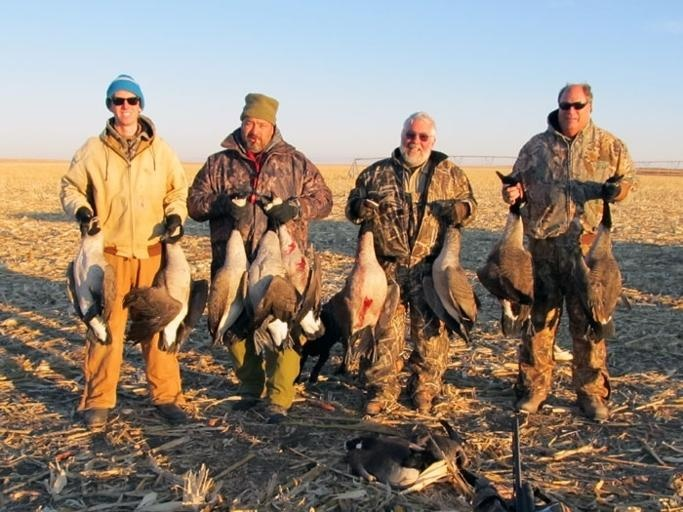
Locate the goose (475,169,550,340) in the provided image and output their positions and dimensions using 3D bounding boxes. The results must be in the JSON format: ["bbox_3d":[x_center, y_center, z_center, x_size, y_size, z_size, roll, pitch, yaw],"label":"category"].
[{"bbox_3d":[1.866,0.038,7.147,0.621,1.908,0.748,6,11,16],"label":"goose"}]

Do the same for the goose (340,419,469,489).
[{"bbox_3d":[0.561,1.924,6.124,0.884,0.342,0.754,5,4,42],"label":"goose"}]

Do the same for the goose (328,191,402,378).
[{"bbox_3d":[0.321,0.374,7.540,0.636,2.081,0.463,-5,13,-34],"label":"goose"}]

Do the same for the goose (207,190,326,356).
[{"bbox_3d":[-0.790,0.247,6.877,1.202,1.703,0.722,2,10,-3],"label":"goose"}]

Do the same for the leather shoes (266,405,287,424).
[{"bbox_3d":[-0.728,1.759,7.144,0.215,0.119,0.249,1,11,-9],"label":"leather shoes"}]

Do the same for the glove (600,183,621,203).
[{"bbox_3d":[2.949,-0.688,7.003,0.194,0.230,0.274,4,11,11],"label":"glove"}]

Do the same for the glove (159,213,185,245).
[{"bbox_3d":[-1.846,-0.286,6.917,0.119,0.320,0.246,1,-8,18],"label":"glove"}]

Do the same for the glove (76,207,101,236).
[{"bbox_3d":[-2.635,-0.340,6.663,0.212,0.313,0.124,-7,-17,-34],"label":"glove"}]

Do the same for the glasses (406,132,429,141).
[{"bbox_3d":[0.872,-1.352,7.312,0.252,0.099,0.047,4,10,6],"label":"glasses"}]

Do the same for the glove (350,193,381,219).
[{"bbox_3d":[0.261,-0.557,7.475,0.284,0.163,0.356,-29,16,-13],"label":"glove"}]

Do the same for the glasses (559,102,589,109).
[{"bbox_3d":[2.550,-1.647,7.058,0.273,0.084,0.109,6,11,16],"label":"glasses"}]

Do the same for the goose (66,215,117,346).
[{"bbox_3d":[-2.591,0.289,6.656,0.318,1.313,0.630,-7,14,-42],"label":"goose"}]

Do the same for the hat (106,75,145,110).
[{"bbox_3d":[-2.220,-1.672,6.573,0.335,0.340,0.485,-1,11,-19],"label":"hat"}]

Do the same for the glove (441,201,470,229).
[{"bbox_3d":[1.315,-0.449,7.296,0.239,0.317,0.329,2,0,18],"label":"glove"}]

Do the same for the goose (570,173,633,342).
[{"bbox_3d":[2.819,0.057,7.031,0.528,1.826,0.429,-5,13,-37],"label":"goose"}]

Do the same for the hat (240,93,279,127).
[{"bbox_3d":[-0.906,-1.656,7.269,0.431,0.318,0.447,11,7,4],"label":"hat"}]

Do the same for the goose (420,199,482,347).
[{"bbox_3d":[1.328,0.204,7.328,0.656,1.628,0.678,-1,11,-19],"label":"goose"}]
